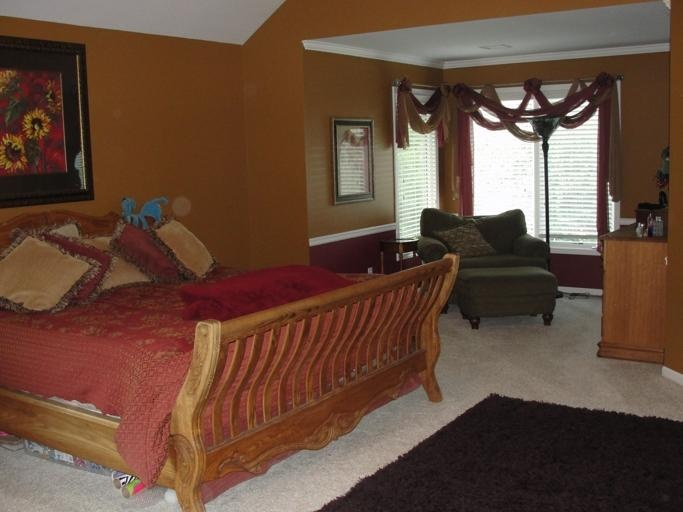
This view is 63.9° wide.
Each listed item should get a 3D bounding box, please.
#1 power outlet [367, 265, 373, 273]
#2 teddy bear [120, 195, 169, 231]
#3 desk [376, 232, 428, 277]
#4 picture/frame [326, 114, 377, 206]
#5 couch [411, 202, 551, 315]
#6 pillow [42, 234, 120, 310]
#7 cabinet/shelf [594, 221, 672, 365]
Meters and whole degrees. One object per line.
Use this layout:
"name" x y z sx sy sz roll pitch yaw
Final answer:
"power outlet" 0.379 0.173 7.285 0.011 0.079 0.081 -3 15 36
"teddy bear" -2.025 -0.451 5.579 0.230 0.303 0.526 2 3 31
"desk" 0.863 -0.080 7.461 0.442 0.761 0.627 7 11 37
"picture/frame" 0.102 -1.226 6.881 0.088 1.299 1.102 1 6 33
"couch" 1.815 0.010 6.803 1.220 1.156 1.473 -2 4 -5
"pillow" -2.052 0.066 4.386 0.477 0.193 0.596 24 29 2
"cabinet/shelf" 2.745 0.374 5.117 0.464 1.131 1.246 1 5 29
